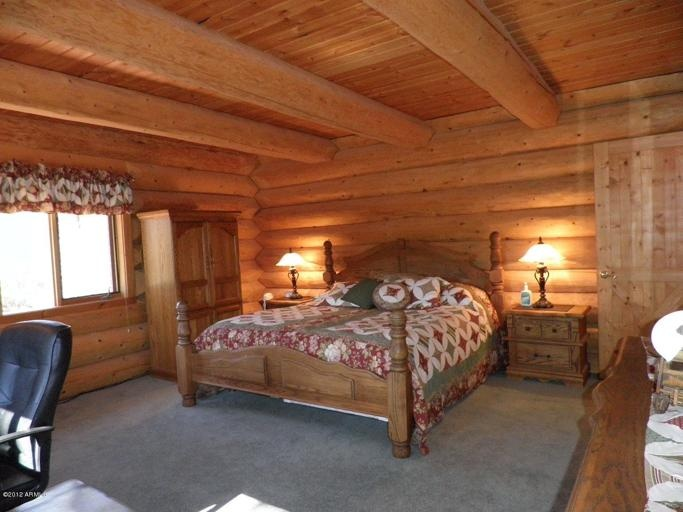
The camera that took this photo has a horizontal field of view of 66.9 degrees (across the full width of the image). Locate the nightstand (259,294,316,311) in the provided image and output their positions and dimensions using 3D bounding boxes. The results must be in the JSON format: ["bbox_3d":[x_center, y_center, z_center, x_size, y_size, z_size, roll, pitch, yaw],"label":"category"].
[{"bbox_3d":[-0.727,0.635,7.104,0.403,0.171,0.394,2,4,33],"label":"nightstand"}]

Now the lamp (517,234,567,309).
[{"bbox_3d":[2.127,0.164,5.487,0.404,0.726,0.473,-2,12,19],"label":"lamp"}]

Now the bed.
[{"bbox_3d":[0.446,0.711,5.384,2.902,1.324,2.676,1,2,34],"label":"bed"}]
